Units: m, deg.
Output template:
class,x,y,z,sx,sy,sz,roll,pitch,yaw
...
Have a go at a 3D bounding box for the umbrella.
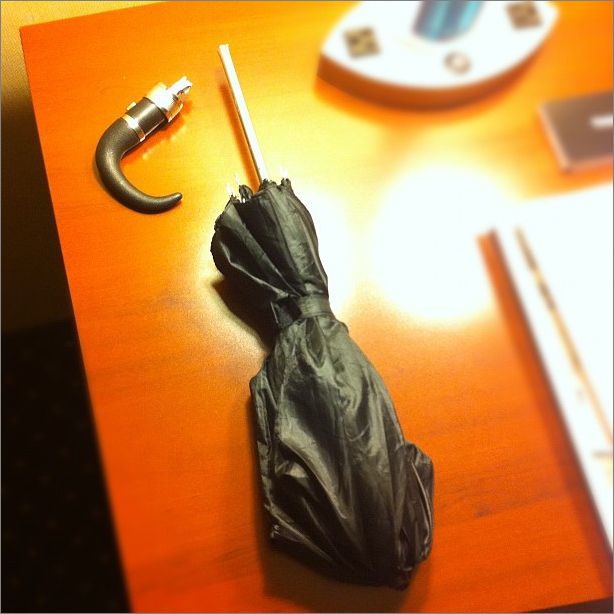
class,x,y,z,sx,sy,sz,roll,pitch,yaw
umbrella,0.000,0.020,0.813,0.188,0.116,0.600,-7,65,-13
